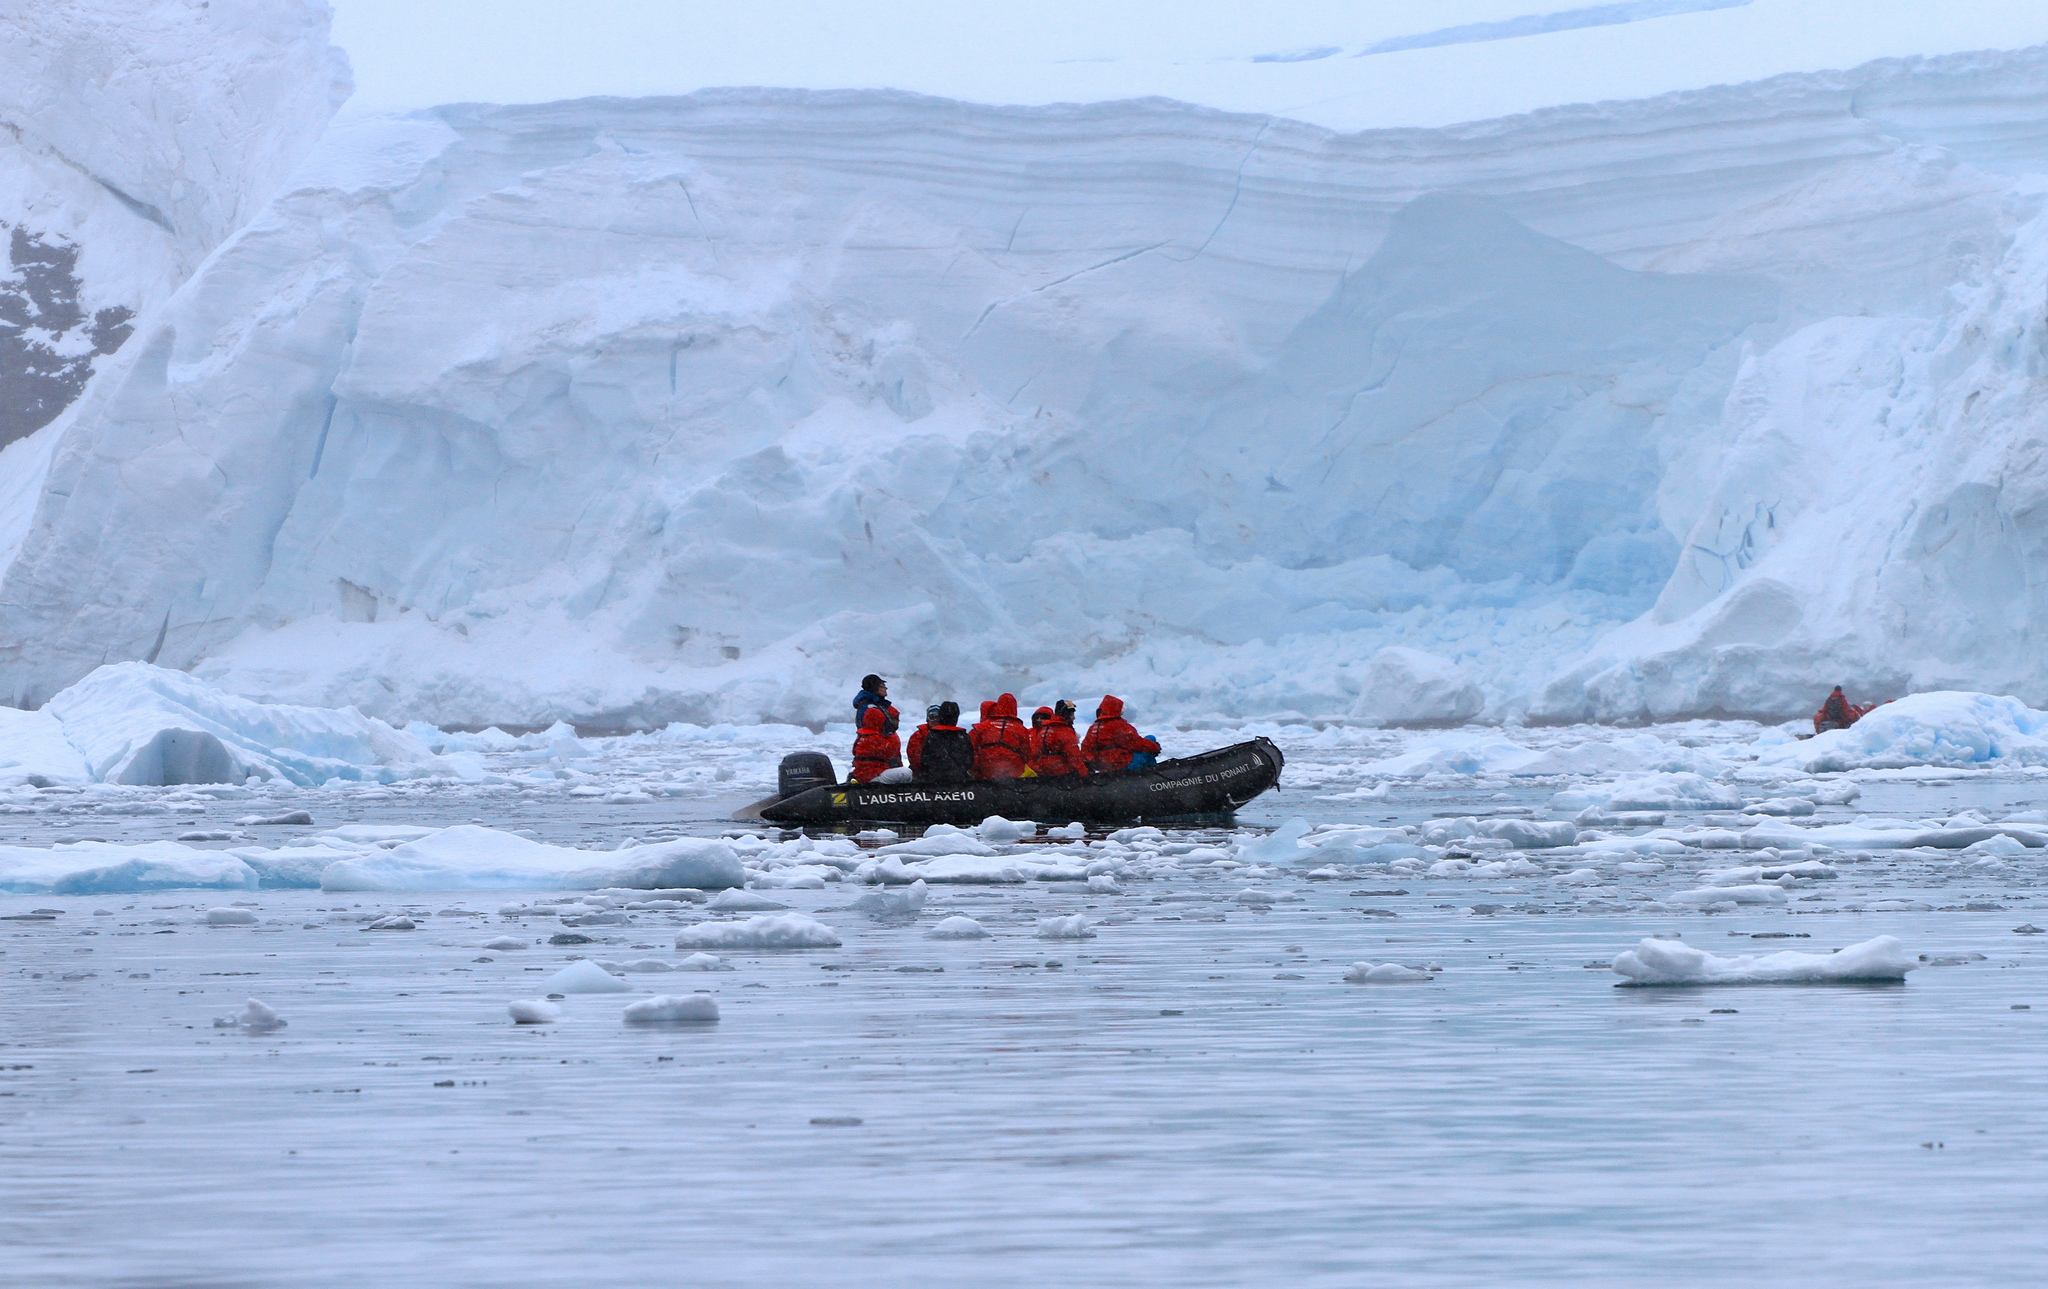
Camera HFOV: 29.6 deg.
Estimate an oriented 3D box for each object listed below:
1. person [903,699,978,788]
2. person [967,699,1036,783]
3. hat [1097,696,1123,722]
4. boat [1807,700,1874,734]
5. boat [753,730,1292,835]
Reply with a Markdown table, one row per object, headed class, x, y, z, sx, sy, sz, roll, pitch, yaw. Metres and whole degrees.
| class | x | y | z | sx | sy | sz | roll | pitch | yaw |
| --- | --- | --- | --- | --- | --- | --- | --- | --- | --- |
| person | -1.390 | 1.606 | 65.613 | 1.184 | 1.464 | 0.687 | 1 | 15 | 12 |
| person | -0.407 | 1.524 | 65.707 | 1.044 | 1.433 | 1.091 | -2 | 14 | 0 |
| hat | 1.404 | 1.095 | 66.119 | 0.415 | 0.507 | 0.436 | 5 | 15 | 26 |
| boat | 16.257 | 1.460 | 78.079 | 1.181 | 0.520 | 0.871 | 2 | -7 | -41 |
| boat | -1.018 | 2.552 | 66.034 | 10.895 | 1.251 | 2.527 | -1 | -3 | -1 |
